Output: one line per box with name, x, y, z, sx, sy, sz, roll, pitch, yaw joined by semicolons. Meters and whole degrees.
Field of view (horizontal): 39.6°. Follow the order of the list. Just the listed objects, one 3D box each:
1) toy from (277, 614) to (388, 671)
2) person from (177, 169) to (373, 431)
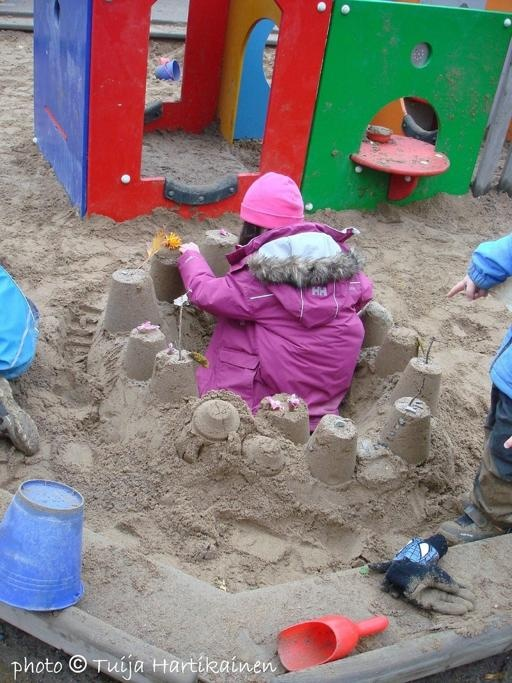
toy;0.210;0.760;1.812;0.302;0.107;0.115;-5;19;-18
person;0.070;-0.112;3.054;0.796;1.019;0.798;-1;24;-30
